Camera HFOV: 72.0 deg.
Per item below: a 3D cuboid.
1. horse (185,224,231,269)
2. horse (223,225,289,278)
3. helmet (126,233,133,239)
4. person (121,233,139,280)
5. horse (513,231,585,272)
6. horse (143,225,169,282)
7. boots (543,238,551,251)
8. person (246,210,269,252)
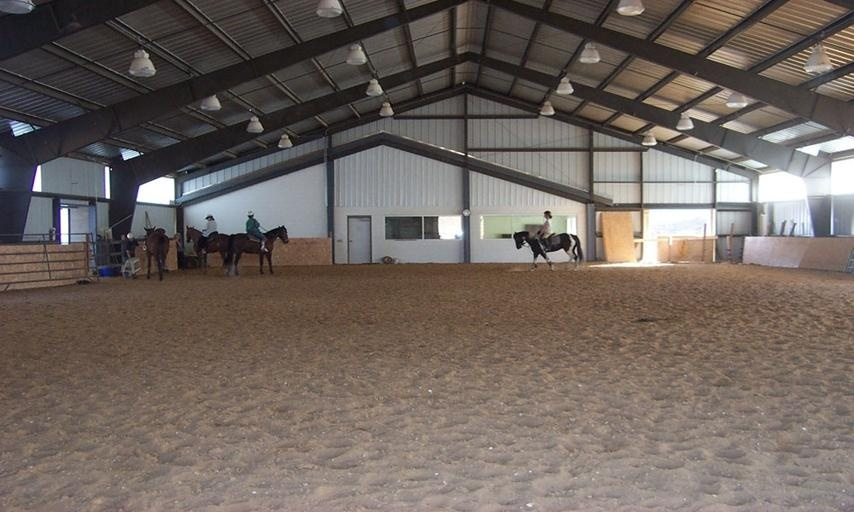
[{"bbox_3d":[-7.638,-0.265,20.647,2.222,1.331,0.599,1,0,13],"label":"horse"},{"bbox_3d":[-5.763,-0.238,20.249,2.385,1.546,0.564,-4,-6,8],"label":"horse"},{"bbox_3d":[-10.176,-0.675,20.211,0.205,0.218,0.248,-2,4,-43],"label":"helmet"},{"bbox_3d":[-10.240,-0.053,20.256,0.546,1.483,1.287,-1,3,-27],"label":"person"},{"bbox_3d":[4.347,-0.179,21.165,2.222,1.297,1.284,0,2,1],"label":"horse"},{"bbox_3d":[-9.031,-0.225,19.617,0.656,1.551,2.330,-4,11,-35],"label":"horse"},{"bbox_3d":[4.274,-0.402,20.977,0.126,0.349,0.285,-3,-7,34],"label":"boots"},{"bbox_3d":[-5.913,-0.779,20.100,0.653,1.321,0.904,0,2,17],"label":"person"}]
